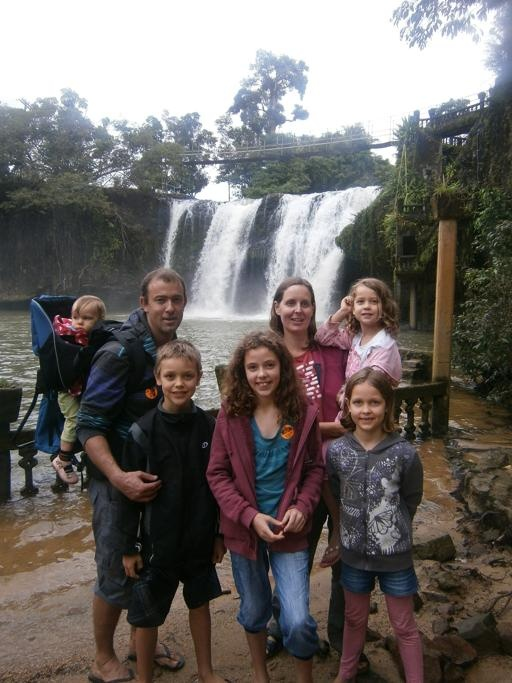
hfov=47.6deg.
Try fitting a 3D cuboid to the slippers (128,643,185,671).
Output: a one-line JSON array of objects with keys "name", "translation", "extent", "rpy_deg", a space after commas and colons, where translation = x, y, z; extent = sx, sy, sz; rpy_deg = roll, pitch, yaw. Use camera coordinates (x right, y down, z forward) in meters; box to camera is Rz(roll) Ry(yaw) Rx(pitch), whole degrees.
[{"name": "slippers", "translation": [-0.406, 1.275, 2.360], "extent": [0.210, 0.072, 0.089], "rpy_deg": [0, 4, 15]}]

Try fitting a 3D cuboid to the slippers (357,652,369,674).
[{"name": "slippers", "translation": [0.420, 1.249, 2.248], "extent": [0.043, 0.058, 0.067], "rpy_deg": [2, 3, 12]}]

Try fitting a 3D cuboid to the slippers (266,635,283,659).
[{"name": "slippers", "translation": [0.074, 1.259, 2.390], "extent": [0.073, 0.101, 0.054], "rpy_deg": [-4, 8, -23]}]
